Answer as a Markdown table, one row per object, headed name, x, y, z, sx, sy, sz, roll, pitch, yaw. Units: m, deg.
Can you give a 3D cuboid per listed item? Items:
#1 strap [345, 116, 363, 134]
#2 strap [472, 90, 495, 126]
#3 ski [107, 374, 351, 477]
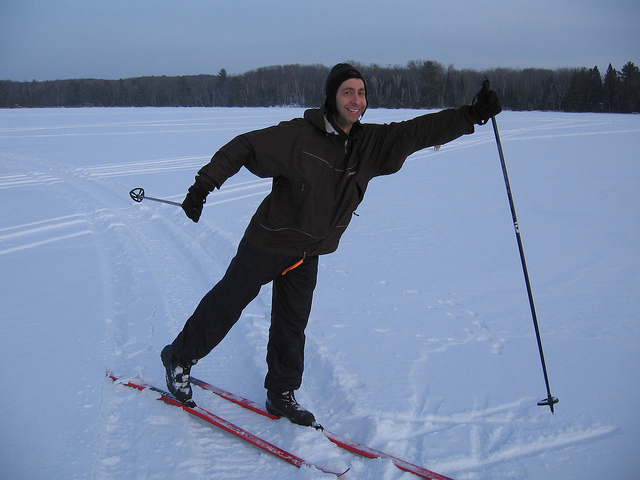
| name | x | y | z | sx | sy | sz | roll | pitch | yaw |
| --- | --- | --- | --- | --- | --- | --- | --- | --- | --- |
| strap | 0.217 | -0.752 | 3.577 | 0.025 | 0.209 | 0.022 | 38 | 45 | -16 |
| strap | 1.049 | -0.859 | 3.531 | 0.127 | 0.186 | 0.084 | 8 | 20 | -28 |
| ski | -0.655 | 1.305 | 3.777 | 1.124 | 0.082 | 0.138 | 24 | 15 | 17 |
